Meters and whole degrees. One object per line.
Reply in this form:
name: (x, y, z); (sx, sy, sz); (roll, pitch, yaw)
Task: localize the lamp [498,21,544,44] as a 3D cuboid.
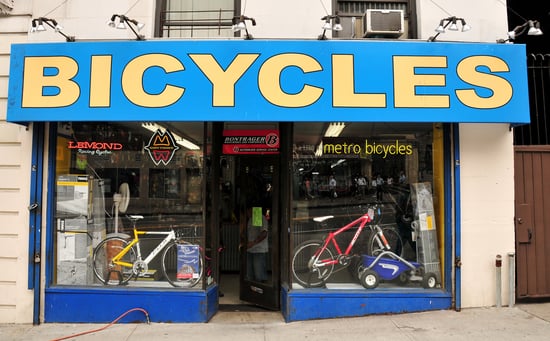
lamp: (5.149, -2.850, 12.459); (0.967, 0.376, 0.657); (-11, 8, -14)

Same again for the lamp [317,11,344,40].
lamp: (1.147, -2.930, 12.415); (0.421, 0.486, 0.479); (-11, 16, -29)

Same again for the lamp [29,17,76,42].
lamp: (-4.610, -2.922, 12.519); (0.561, 0.330, 0.769); (3, 14, -1)

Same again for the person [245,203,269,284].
person: (-0.375, 1.627, 13.301); (0.528, 1.607, 0.184); (-3, -5, 13)

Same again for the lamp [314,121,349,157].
lamp: (1.175, -0.644, 12.792); (0.652, 0.669, 0.187); (-1, -5, -4)

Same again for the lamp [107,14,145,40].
lamp: (-3.016, -2.878, 12.421); (0.836, 0.492, 0.285); (-4, -8, -41)

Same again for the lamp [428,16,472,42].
lamp: (3.571, -2.924, 12.434); (0.558, 0.308, 0.766); (0, 8, -1)

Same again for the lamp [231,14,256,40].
lamp: (-0.611, -2.881, 12.420); (0.491, 0.481, 0.424); (0, 6, -36)

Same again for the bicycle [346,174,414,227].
bicycle: (2.358, 0.782, 13.330); (1.547, 0.984, 0.771); (-4, -5, -3)
